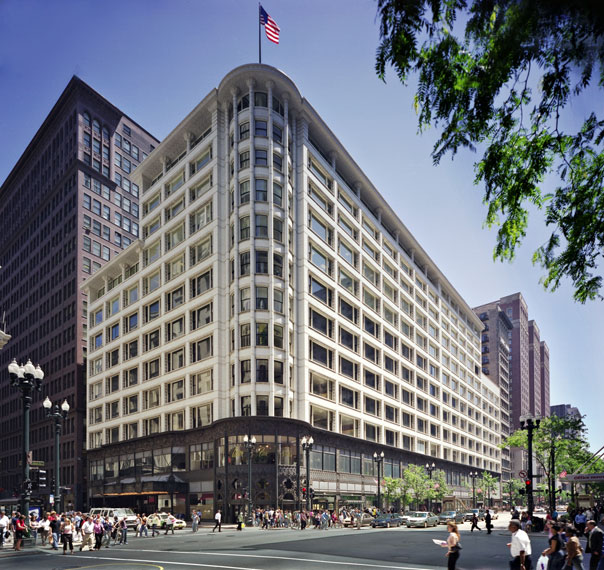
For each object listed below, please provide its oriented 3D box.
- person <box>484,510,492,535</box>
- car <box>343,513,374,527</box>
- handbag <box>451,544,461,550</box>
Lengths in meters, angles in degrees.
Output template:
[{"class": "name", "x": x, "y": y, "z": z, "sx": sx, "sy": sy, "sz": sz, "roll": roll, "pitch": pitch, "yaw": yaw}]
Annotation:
[{"class": "person", "x": 11.814, "y": 14.996, "z": 49.097, "sx": 0.324, "sy": 1.483, "sz": 1.879, "roll": -5, "pitch": -22, "yaw": 10}, {"class": "car", "x": 4.684, "y": 18.615, "z": 62.038, "sx": 1.399, "sy": 1.134, "sz": 3.025, "roll": -15, "pitch": -27, "yaw": 36}, {"class": "handbag", "x": 4.027, "y": 6.855, "z": 20.269, "sx": 0.222, "sy": 0.092, "sz": 0.160, "roll": -14, "pitch": -18, "yaw": 41}]
